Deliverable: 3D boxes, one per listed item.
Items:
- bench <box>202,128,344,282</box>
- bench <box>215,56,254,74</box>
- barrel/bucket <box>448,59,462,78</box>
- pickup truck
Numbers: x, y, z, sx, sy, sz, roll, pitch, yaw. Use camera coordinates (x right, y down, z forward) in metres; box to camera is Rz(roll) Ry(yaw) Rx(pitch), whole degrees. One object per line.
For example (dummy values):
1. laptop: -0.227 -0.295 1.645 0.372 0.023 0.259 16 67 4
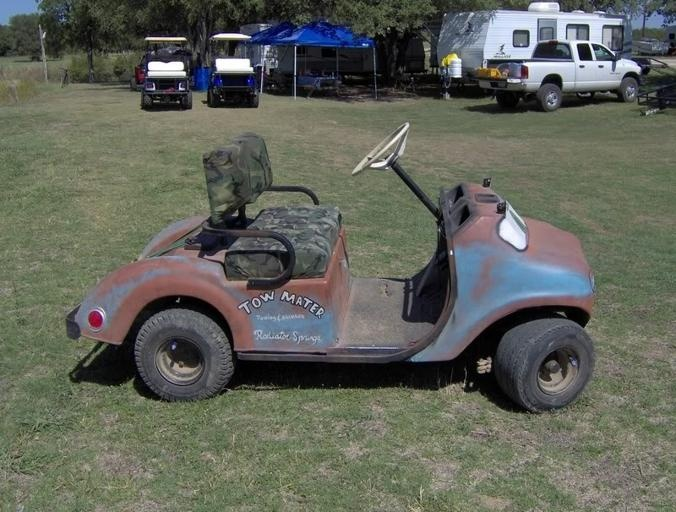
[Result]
1. bench: -0.557 -0.449 5.029 1.166 1.108 1.084 -6 14 -25
2. bench: -3.646 -6.609 20.739 1.333 0.562 0.594 -6 14 -22
3. barrel/bucket: 4.733 -7.521 23.804 0.557 0.717 0.444 -2 12 -9
4. pickup truck: 7.532 -5.860 19.534 5.021 2.178 1.147 -5 13 -19
